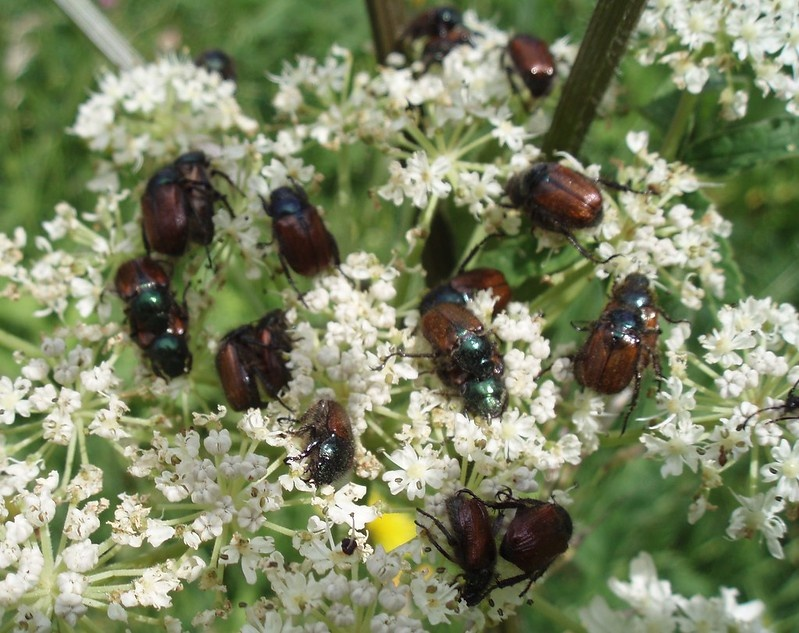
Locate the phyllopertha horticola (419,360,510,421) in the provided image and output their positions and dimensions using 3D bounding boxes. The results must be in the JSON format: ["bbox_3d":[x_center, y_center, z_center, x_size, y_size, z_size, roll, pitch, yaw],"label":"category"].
[{"bbox_3d":[0.382,0.384,4.936,0.312,0.094,0.318,43,117,15],"label":"phyllopertha horticola"}]
